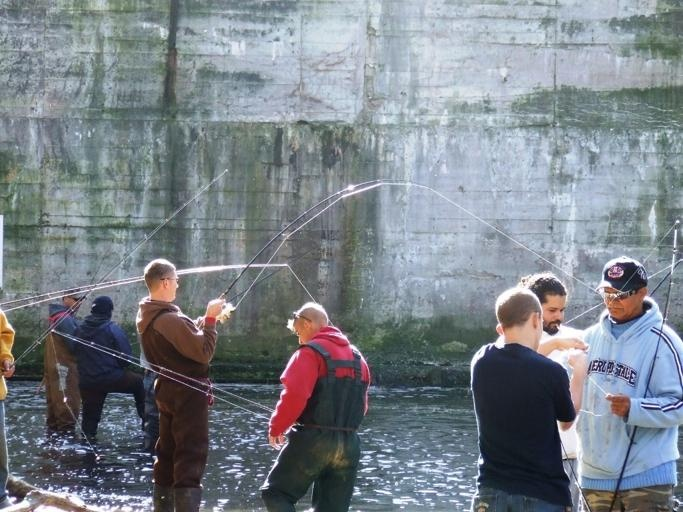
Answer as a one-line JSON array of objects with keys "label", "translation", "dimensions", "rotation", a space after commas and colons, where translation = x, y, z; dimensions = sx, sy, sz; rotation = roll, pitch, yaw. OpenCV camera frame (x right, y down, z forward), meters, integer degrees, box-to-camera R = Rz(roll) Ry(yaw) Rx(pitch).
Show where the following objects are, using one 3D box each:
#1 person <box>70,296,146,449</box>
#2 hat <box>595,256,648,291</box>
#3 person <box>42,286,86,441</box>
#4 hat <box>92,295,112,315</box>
[{"label": "person", "translation": [-3.708, 1.770, 26.569], "dimensions": [1.036, 1.627, 0.554], "rotation": [3, 1, -12]}, {"label": "hat", "translation": [3.841, 0.224, 22.985], "dimensions": [0.400, 0.340, 0.572], "rotation": [2, 0, 32]}, {"label": "person", "translation": [-4.398, 1.719, 27.119], "dimensions": [0.638, 2.303, 0.757], "rotation": [-1, 10, -45]}, {"label": "hat", "translation": [-3.815, 0.775, 26.742], "dimensions": [0.271, 0.278, 0.285], "rotation": [5, 1, -11]}]
